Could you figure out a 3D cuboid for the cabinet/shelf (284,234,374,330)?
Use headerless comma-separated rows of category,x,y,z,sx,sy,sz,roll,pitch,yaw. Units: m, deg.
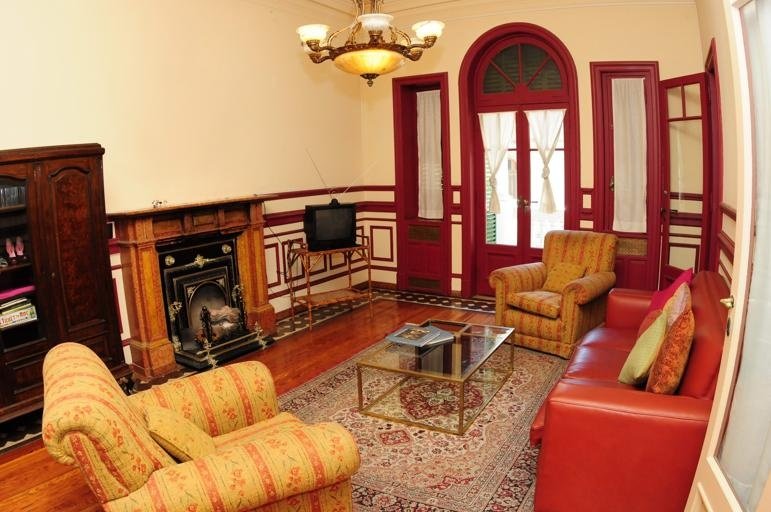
cabinet/shelf,-0.662,0.272,6.161,0.907,0.984,0.639,-7,7,-36

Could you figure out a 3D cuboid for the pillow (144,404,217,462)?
pillow,-1.116,0.898,2.717,0.093,0.363,0.391,-23,-24,-17

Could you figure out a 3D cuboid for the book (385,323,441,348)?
book,0.239,0.676,4.252,0.223,0.052,0.226,4,16,33

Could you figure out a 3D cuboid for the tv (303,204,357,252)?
tv,-0.631,-0.328,5.737,0.480,0.469,0.261,-8,12,-37

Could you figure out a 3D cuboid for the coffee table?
coffee table,0.423,1.014,4.130,0.786,0.553,1.154,2,12,31

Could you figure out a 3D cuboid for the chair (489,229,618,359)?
chair,1.798,0.315,5.174,1.079,1.072,0.998,-7,11,-36
